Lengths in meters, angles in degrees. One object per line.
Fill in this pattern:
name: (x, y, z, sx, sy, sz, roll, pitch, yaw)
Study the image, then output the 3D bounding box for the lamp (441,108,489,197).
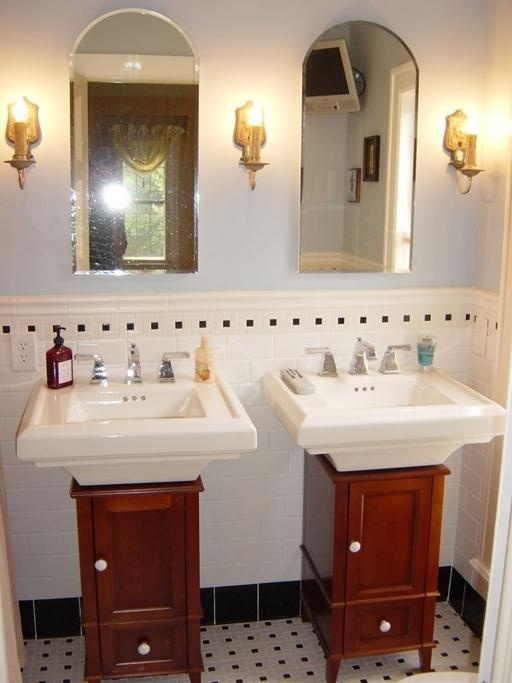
lamp: (0.729, -0.679, 2.074, 0.119, 0.295, 0.099, 0, 10, 0)

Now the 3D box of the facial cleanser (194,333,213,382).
facial cleanser: (-0.182, 0.053, 1.955, 0.056, 0.143, 0.146, -3, 10, -14)

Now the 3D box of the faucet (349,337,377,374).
faucet: (0.370, 0.050, 2.084, 0.123, 0.130, 0.113, 1, 9, 5)

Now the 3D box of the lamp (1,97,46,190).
lamp: (-0.708, -0.609, 1.760, 0.106, 0.276, 0.152, -3, 10, -15)

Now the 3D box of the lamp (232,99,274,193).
lamp: (-0.017, -0.646, 1.896, 0.111, 0.289, 0.144, -1, 9, -3)
